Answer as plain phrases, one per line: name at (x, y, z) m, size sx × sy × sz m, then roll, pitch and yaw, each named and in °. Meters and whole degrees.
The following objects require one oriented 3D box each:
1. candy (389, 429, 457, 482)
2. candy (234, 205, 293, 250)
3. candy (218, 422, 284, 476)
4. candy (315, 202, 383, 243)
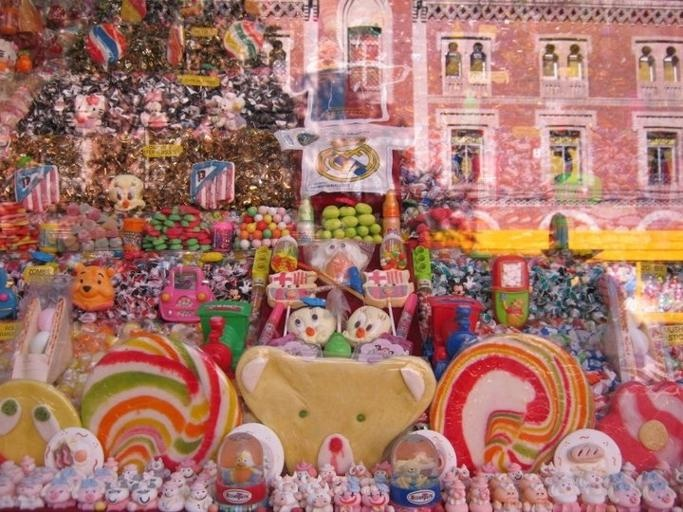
candy at (0.434, 1.057, 3.990) m, size 0.263 × 0.283 × 0.142 m, roll -1°, pitch -7°, yaw 3°
candy at (-0.559, -0.200, 5.373) m, size 0.286 × 0.117 × 0.379 m, roll 39°, pitch 65°, yaw 13°
candy at (-0.464, 1.089, 4.097) m, size 0.295 × 0.313 × 0.174 m, roll -3°, pitch 10°, yaw -1°
candy at (0.062, -0.231, 5.296) m, size 0.346 × 0.150 × 0.292 m, roll 19°, pitch 50°, yaw 24°
